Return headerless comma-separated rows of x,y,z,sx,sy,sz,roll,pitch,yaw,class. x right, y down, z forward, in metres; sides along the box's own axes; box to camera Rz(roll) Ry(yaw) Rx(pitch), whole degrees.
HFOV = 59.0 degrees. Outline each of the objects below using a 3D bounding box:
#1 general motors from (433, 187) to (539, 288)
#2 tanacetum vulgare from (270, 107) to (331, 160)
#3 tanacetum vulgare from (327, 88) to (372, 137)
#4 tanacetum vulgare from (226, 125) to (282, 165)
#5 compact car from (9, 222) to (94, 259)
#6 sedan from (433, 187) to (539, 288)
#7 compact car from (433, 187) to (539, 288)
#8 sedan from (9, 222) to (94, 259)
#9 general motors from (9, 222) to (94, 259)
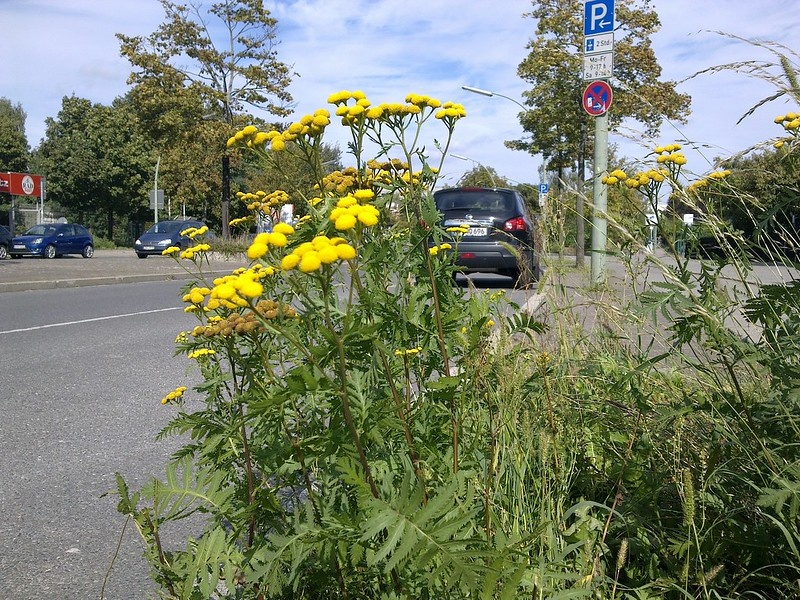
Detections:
1.389,-1.048,11.370,1.124,1.265,2.780,0,7,14,general motors
-0.397,-0.664,2.784,0.226,0.171,0.358,0,5,-12,tanacetum vulgare
-0.190,-0.749,2.770,0.162,0.176,0.370,0,5,-7,tanacetum vulgare
-0.583,-0.686,2.960,0.172,0.084,0.211,-10,10,24,tanacetum vulgare
-14.078,-2.370,28.691,1.441,1.290,2.641,-1,-2,23,compact car
1.388,-1.119,11.459,1.124,1.265,2.780,0,7,14,sedan
1.348,-1.062,11.459,1.124,1.265,2.780,0,7,14,compact car
-14.092,-2.341,28.665,1.441,1.290,2.641,-1,-2,23,sedan
-13.998,-2.413,28.746,1.598,1.388,3.465,2,5,12,general motors
